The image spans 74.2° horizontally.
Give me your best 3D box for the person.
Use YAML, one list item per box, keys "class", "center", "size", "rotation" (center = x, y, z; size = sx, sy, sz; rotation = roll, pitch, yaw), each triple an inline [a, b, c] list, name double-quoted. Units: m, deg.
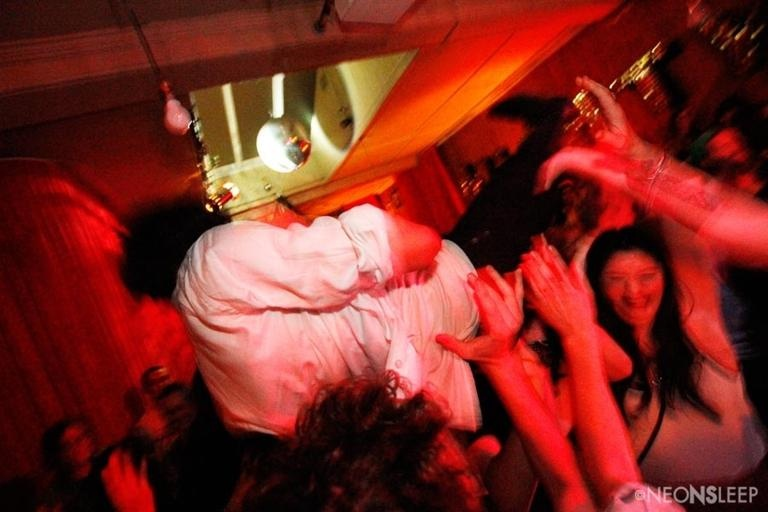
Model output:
- class: "person"
  center: [0.076, 0.277, 1.949]
  size: [2.548, 1.058, 1.184]
  rotation: [-7, 45, -12]
